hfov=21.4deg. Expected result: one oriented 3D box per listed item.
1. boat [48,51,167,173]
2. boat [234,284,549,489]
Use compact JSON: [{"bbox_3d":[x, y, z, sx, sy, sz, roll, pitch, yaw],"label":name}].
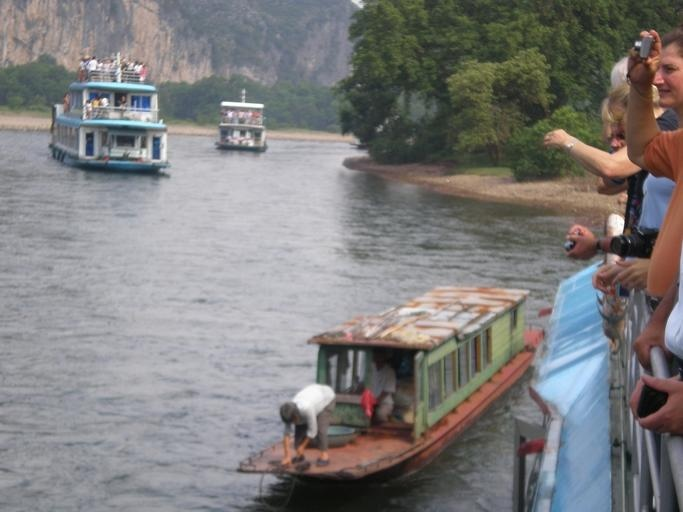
[{"bbox_3d":[-19.471,-12.085,153.834,8.318,9.855,12.288,0,8,-12],"label":"boat"},{"bbox_3d":[4.791,7.350,113.653,10.491,7.431,25.585,3,16,29],"label":"boat"}]
